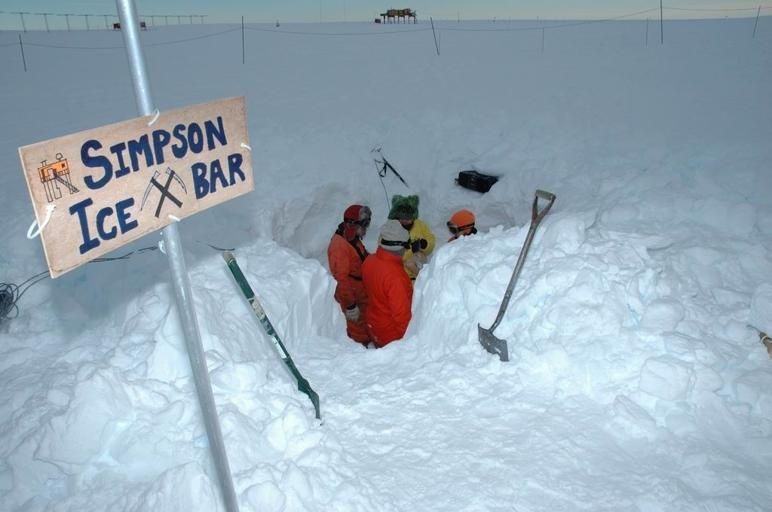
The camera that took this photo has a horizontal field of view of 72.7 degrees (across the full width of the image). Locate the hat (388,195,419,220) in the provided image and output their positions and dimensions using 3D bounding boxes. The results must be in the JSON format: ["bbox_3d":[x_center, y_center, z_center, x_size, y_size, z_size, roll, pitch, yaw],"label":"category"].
[{"bbox_3d":[0.229,-0.609,6.675,0.378,0.220,0.422,-2,3,-4],"label":"hat"}]

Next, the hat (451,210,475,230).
[{"bbox_3d":[0.934,-0.447,6.603,0.295,0.232,0.233,9,25,19],"label":"hat"}]

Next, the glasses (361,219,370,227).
[{"bbox_3d":[-0.225,-0.412,6.538,0.084,0.076,0.145,-11,-3,9],"label":"glasses"}]

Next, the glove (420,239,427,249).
[{"bbox_3d":[0.497,-0.162,6.861,0.059,0.158,0.180,2,25,14],"label":"glove"}]

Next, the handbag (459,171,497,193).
[{"bbox_3d":[1.589,-1.297,9.097,0.319,0.309,0.808,-23,30,-36],"label":"handbag"}]

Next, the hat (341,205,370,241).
[{"bbox_3d":[-0.398,-0.466,6.622,0.428,0.426,0.342,10,28,13],"label":"hat"}]

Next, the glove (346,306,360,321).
[{"bbox_3d":[-0.418,0.722,6.544,0.142,0.188,0.181,3,64,-16],"label":"glove"}]

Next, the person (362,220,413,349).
[{"bbox_3d":[0.071,0.351,5.831,0.633,1.530,0.368,14,30,36],"label":"person"}]
